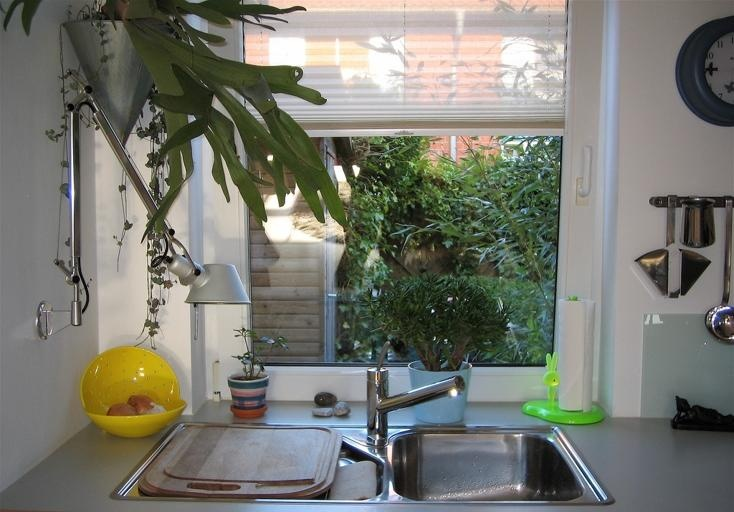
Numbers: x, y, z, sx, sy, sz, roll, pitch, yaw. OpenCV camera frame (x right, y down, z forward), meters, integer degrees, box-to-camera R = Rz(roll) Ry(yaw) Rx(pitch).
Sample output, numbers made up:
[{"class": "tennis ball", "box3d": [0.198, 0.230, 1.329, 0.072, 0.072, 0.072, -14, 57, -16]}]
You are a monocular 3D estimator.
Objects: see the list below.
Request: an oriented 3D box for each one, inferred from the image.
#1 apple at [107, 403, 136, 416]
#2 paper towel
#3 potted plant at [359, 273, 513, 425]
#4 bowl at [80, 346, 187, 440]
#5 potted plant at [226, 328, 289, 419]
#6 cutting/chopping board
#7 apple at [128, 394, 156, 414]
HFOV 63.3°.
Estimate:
[{"class": "apple", "box3d": [-0.734, 0.450, 1.767, 0.044, 0.026, 0.046, 5, 1, 10]}, {"class": "paper towel", "box3d": [0.689, 0.329, 1.972, 0.118, 0.360, 0.100, 3, 11, 15]}, {"class": "potted plant", "box3d": [0.264, 0.316, 2.039, 0.424, 0.474, 0.345, 6, -6, -14]}, {"class": "bowl", "box3d": [-0.691, 0.406, 1.797, 0.317, 0.159, 0.285, 17, 7, 36]}, {"class": "potted plant", "box3d": [-0.378, 0.387, 2.085, 0.193, 0.293, 0.292, -1, 11, -8]}, {"class": "cutting/chopping board", "box3d": [-0.339, 0.572, 1.678, 0.511, 0.028, 0.390, 1, 11, 2]}, {"class": "apple", "box3d": [-0.689, 0.452, 1.817, 0.070, 0.033, 0.091, -9, 15, -38]}]
